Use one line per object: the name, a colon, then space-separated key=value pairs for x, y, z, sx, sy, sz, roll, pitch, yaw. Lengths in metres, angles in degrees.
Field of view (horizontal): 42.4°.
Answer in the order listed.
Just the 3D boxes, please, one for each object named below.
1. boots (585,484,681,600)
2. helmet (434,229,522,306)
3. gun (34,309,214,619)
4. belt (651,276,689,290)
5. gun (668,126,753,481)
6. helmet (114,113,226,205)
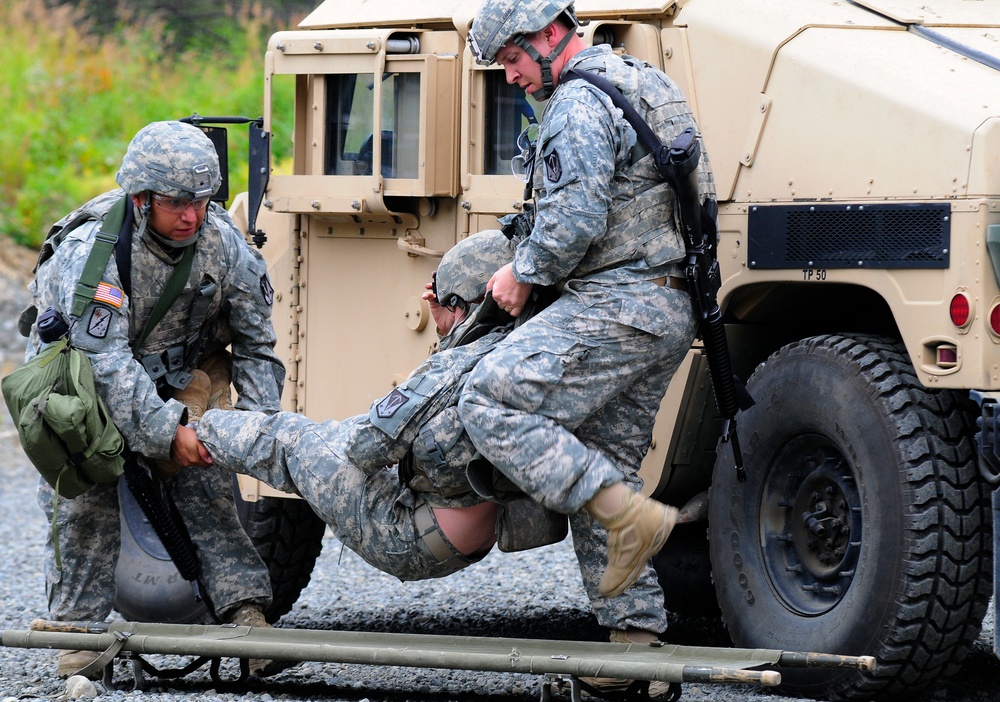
boots: x=0.413 y=0.683 z=4.655 sx=0.270 sy=0.420 sz=0.154 roll=27 pitch=24 yaw=-21
helmet: x=-0.106 y=-0.317 z=5.161 sx=0.233 sy=0.270 sz=0.306 roll=-34 pitch=19 yaw=-33
gun: x=-1.568 y=0.441 z=5.423 sx=0.217 sy=1.395 sz=0.478 roll=-19 pitch=-1 yaw=34
belt: x=0.650 y=-0.258 z=4.856 sx=0.065 sy=0.035 sz=0.088 roll=1 pitch=2 yaw=39
gun: x=0.838 y=-0.229 z=5.156 sx=0.186 sy=1.460 sz=0.416 roll=-7 pitch=16 yaw=23
helmet: x=-1.329 y=-0.761 z=5.195 sx=0.331 sy=0.230 sz=0.321 roll=2 pitch=5 yaw=36
